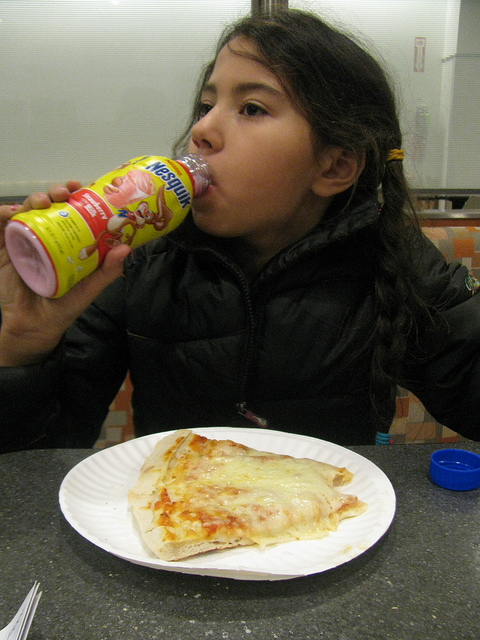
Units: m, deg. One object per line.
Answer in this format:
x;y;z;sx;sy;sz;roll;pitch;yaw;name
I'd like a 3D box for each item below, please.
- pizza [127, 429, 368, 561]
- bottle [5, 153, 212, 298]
-0.001;0.177;0.635;0.252;0.031;0.252;-3;14;-22;pizza
-0.156;-0.120;0.676;0.241;0.167;0.091;-9;15;-38;bottle
